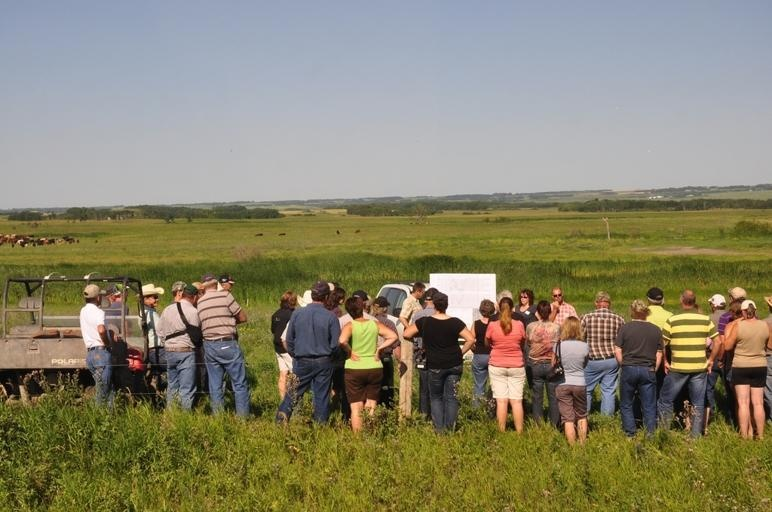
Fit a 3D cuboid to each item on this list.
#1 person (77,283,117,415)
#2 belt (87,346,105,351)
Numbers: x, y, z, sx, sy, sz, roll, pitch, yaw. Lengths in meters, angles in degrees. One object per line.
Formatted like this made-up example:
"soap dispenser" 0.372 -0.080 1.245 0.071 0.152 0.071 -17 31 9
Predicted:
"person" -5.818 1.773 15.742 0.545 2.388 0.795 -3 1 -20
"belt" -5.748 1.824 15.590 0.312 0.090 0.086 -3 1 -21
